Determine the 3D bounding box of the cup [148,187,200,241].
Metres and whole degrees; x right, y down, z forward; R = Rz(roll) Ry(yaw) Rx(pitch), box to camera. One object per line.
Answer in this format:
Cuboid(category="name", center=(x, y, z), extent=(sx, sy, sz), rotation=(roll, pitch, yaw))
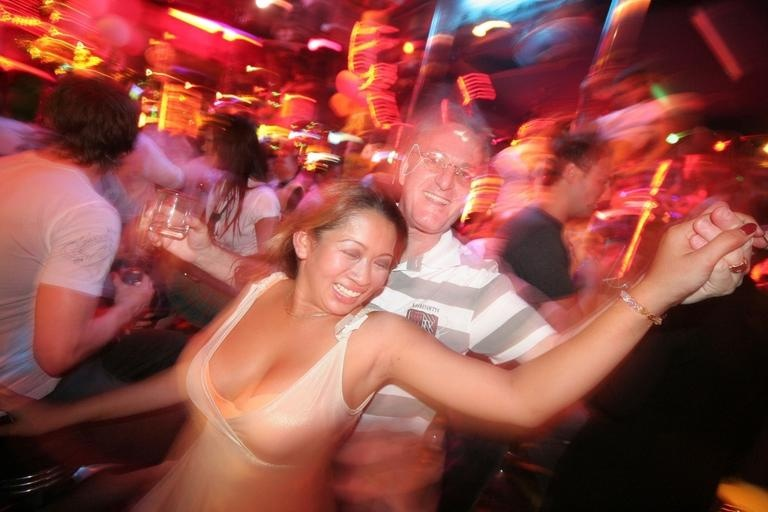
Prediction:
Cuboid(category="cup", center=(-1.532, -0.320, 3.823), extent=(0.336, 0.317, 0.322), rotation=(10, -1, 0))
